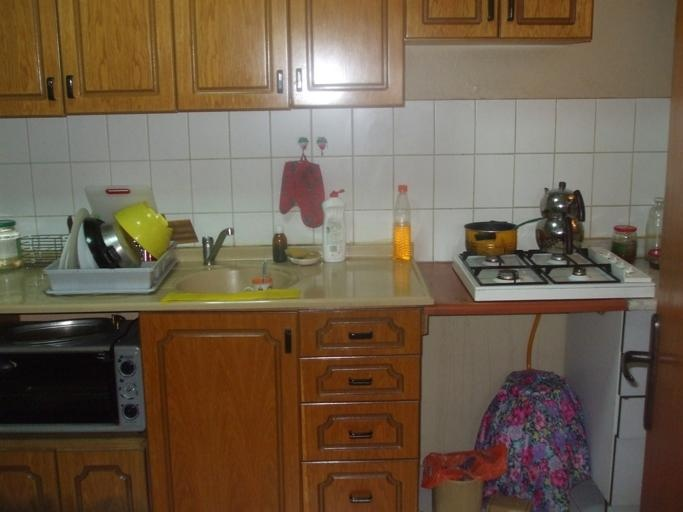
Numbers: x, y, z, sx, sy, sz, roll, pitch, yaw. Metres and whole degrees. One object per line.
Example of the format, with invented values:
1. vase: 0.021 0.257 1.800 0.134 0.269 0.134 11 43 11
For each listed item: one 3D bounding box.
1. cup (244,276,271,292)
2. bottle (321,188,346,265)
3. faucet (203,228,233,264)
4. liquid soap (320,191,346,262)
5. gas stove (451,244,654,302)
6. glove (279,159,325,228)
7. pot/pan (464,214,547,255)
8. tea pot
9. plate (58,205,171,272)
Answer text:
1. cup: -0.382 0.125 2.629 0.088 0.065 0.073 -3 7 -37
2. bottle: -0.057 -0.133 2.759 0.096 0.318 0.116 1 15 -9
3. faucet: -0.590 -0.040 2.737 0.173 0.168 0.080 3 13 31
4. liquid soap: -0.046 -0.133 2.748 0.118 0.325 0.095 -5 11 -4
5. gas stove: 0.879 0.079 2.494 0.876 0.069 0.835 -1 10 -1
6. glove: -0.194 -0.295 2.770 0.211 0.314 0.103 -5 11 -5
7. pot/pan: 0.707 -0.104 2.657 0.373 0.165 0.229 2 14 1
8. tea pot: 0.995 -0.172 2.658 0.206 0.311 0.428 -3 11 7
9. plate: -0.928 -0.085 2.483 0.388 0.279 0.335 4 14 4
